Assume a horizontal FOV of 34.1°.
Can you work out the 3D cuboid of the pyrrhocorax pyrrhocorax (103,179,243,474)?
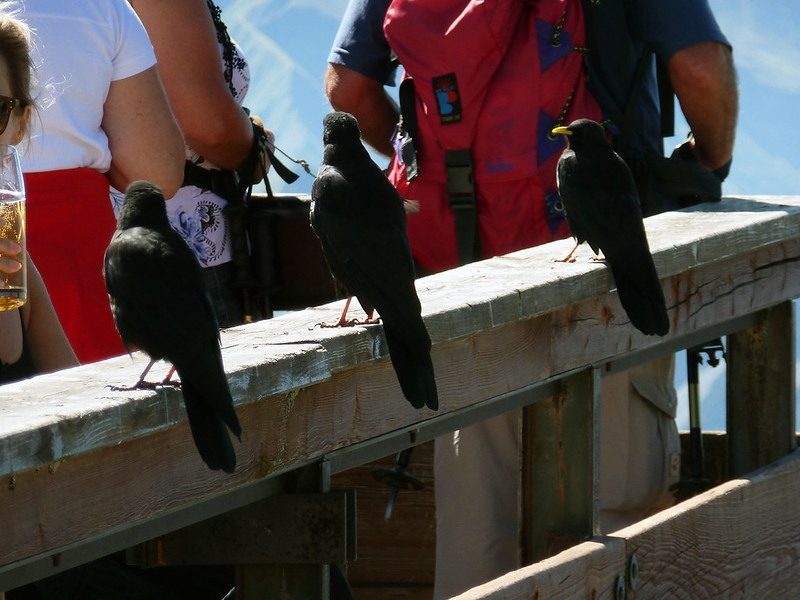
[{"bbox_3d":[-0.674,0.048,3.686,0.280,0.732,0.941,-9,9,-13],"label":"pyrrhocorax pyrrhocorax"}]

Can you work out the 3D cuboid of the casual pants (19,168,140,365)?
[{"bbox_3d":[-1.092,-0.160,4.535,0.241,0.830,0.327,-7,7,-8],"label":"casual pants"}]
